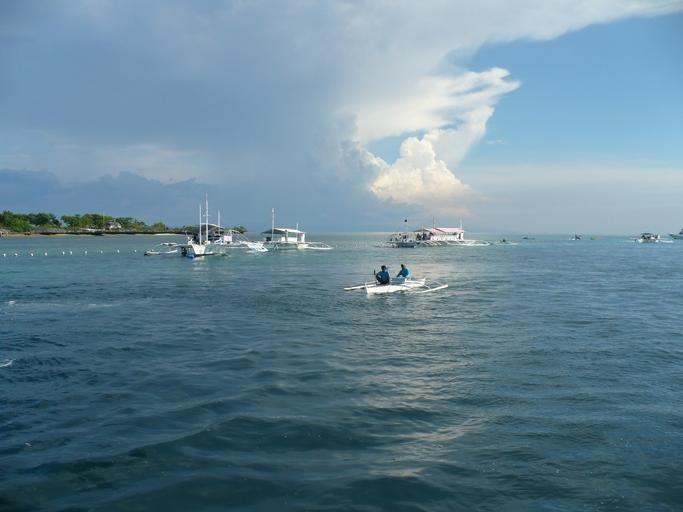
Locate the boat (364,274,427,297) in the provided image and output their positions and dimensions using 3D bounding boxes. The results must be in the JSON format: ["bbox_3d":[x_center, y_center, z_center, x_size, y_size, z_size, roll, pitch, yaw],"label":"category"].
[{"bbox_3d":[3.644,1.989,40.831,5.164,1.015,1.486,-6,10,-42],"label":"boat"}]

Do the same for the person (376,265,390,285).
[{"bbox_3d":[2.876,1.266,40.128,0.900,1.269,1.037,-4,9,-27],"label":"person"}]
